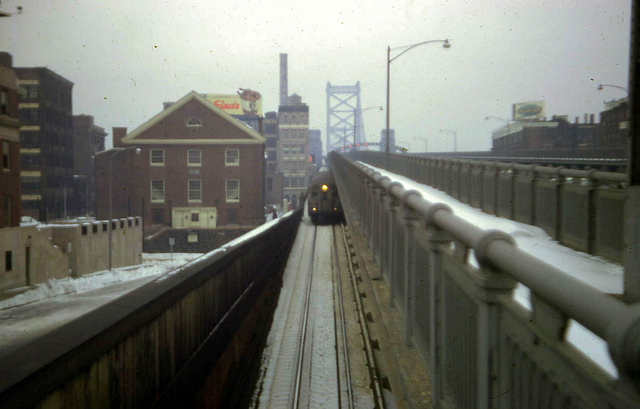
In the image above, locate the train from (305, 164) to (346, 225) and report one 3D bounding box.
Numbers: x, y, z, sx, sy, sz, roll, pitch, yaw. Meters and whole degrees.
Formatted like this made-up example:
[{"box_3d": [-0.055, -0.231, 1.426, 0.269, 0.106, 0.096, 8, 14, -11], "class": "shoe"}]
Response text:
[{"box_3d": [0.374, -1.080, 44.395, 2.164, 3.087, 9.352, -1, 11, 1], "class": "train"}]
